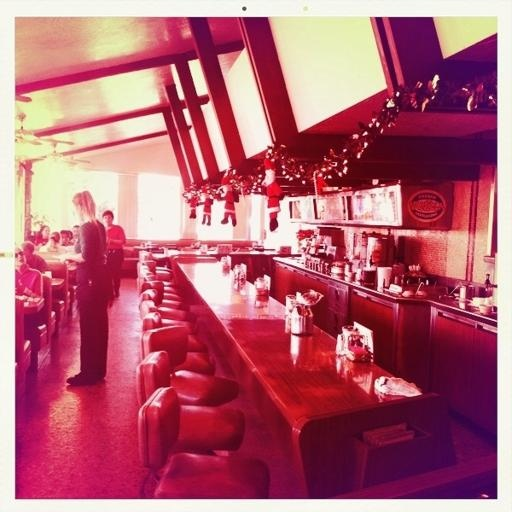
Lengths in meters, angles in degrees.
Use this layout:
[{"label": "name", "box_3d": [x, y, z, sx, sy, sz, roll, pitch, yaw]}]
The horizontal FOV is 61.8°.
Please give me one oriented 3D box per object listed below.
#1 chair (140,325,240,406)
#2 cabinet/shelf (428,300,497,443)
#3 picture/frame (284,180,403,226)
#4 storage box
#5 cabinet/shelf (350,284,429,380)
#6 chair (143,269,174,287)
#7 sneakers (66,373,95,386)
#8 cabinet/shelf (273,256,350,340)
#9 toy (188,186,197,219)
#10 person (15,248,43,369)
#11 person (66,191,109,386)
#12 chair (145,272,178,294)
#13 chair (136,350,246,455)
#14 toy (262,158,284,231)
[{"label": "chair", "box_3d": [-0.361, 0.626, 2.323, 0.443, 0.458, 0.485, 1, 0, -6]}, {"label": "cabinet/shelf", "box_3d": [1.669, 0.869, 3.565, 0.674, 0.714, 0.345, 13, -11, -14]}, {"label": "picture/frame", "box_3d": [1.396, -0.810, 7.152, 0.490, 0.542, 4.091, -9, 7, -14]}, {"label": "storage box", "box_3d": [0.479, 0.758, 1.523, 0.237, 0.265, 0.134, -3, 3, -14]}, {"label": "cabinet/shelf", "box_3d": [1.211, 0.666, 3.732, 0.287, 0.823, 0.802, 0, -1, -14]}, {"label": "chair", "box_3d": [-1.314, 0.303, 5.773, 0.229, 0.319, 0.235, -1, 5, 2]}, {"label": "sneakers", "box_3d": [-1.662, 1.186, 4.073, 0.223, 0.111, 0.126, 5, -4, -2]}, {"label": "cabinet/shelf", "box_3d": [0.596, 0.693, 6.451, 1.775, 0.927, 0.482, 19, -19, -33]}, {"label": "toy", "box_3d": [-1.357, -1.108, 9.212, 0.206, 0.603, 1.042, -1, 4, -7]}, {"label": "person", "box_3d": [-2.348, 0.519, 4.472, 0.256, 1.095, 1.300, -3, 5, -29]}, {"label": "person", "box_3d": [-1.612, 0.309, 4.104, 0.401, 1.818, 0.241, -3, 5, -28]}, {"label": "chair", "box_3d": [-1.385, 0.359, 6.205, 0.372, 0.554, 0.430, 1, -7, -20]}, {"label": "chair", "box_3d": [-0.311, 0.735, 2.108, 0.522, 0.533, 0.374, 7, 0, 5]}, {"label": "toy", "box_3d": [0.152, -0.543, 3.843, 0.147, 0.656, 0.378, -1, 4, 2]}]
